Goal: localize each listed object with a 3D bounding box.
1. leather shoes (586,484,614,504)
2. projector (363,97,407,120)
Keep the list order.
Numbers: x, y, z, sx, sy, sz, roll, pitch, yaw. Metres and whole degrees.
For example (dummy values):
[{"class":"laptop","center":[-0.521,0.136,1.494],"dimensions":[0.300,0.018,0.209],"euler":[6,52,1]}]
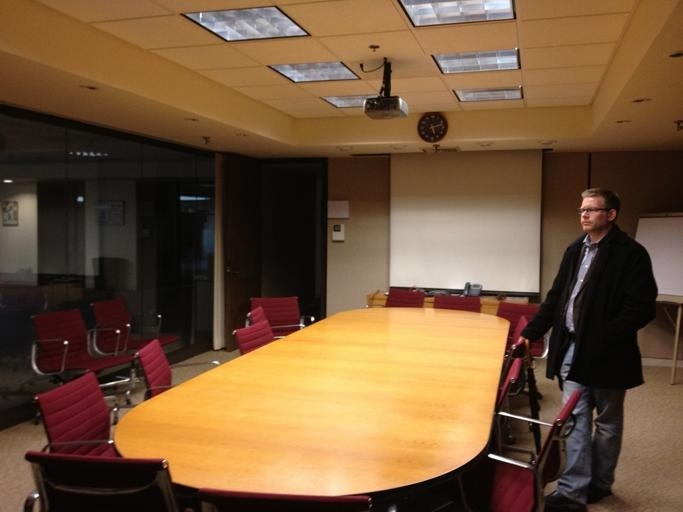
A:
[{"class":"leather shoes","center":[1.981,1.801,3.963],"dimensions":[0.289,0.123,0.095],"euler":[11,-14,-42]},{"class":"projector","center":[0.481,-1.507,5.347],"dimensions":[0.291,0.110,0.283],"euler":[1,3,20]}]
